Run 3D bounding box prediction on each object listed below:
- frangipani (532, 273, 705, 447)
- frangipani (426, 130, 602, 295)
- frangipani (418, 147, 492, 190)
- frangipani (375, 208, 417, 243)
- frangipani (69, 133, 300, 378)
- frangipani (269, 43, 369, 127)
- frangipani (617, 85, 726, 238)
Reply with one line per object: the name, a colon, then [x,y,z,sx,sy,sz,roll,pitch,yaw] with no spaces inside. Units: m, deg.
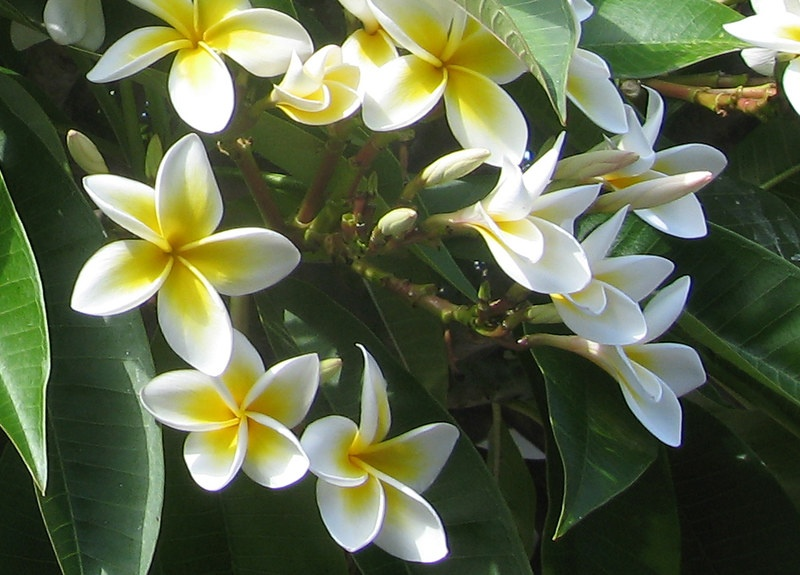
frangipani: [0.241,0.086,1.007,0.216,0.139,0.127,10,-32,31]
frangipani: [0.115,-0.067,0.884,0.177,0.073,0.132,30,45,19]
frangipani: [0.057,-0.127,0.910,0.093,0.029,0.028,-15,-26,43]
frangipani: [-0.004,-0.074,0.950,0.055,0.034,0.048,-5,2,11]
frangipani: [-0.207,-0.033,0.804,0.215,0.241,0.055,-5,1,-5]
frangipani: [-0.087,-0.211,0.857,0.099,0.078,0.067,-5,1,-6]
frangipani: [0.319,-0.130,1.007,0.063,0.167,0.168,-30,9,42]
